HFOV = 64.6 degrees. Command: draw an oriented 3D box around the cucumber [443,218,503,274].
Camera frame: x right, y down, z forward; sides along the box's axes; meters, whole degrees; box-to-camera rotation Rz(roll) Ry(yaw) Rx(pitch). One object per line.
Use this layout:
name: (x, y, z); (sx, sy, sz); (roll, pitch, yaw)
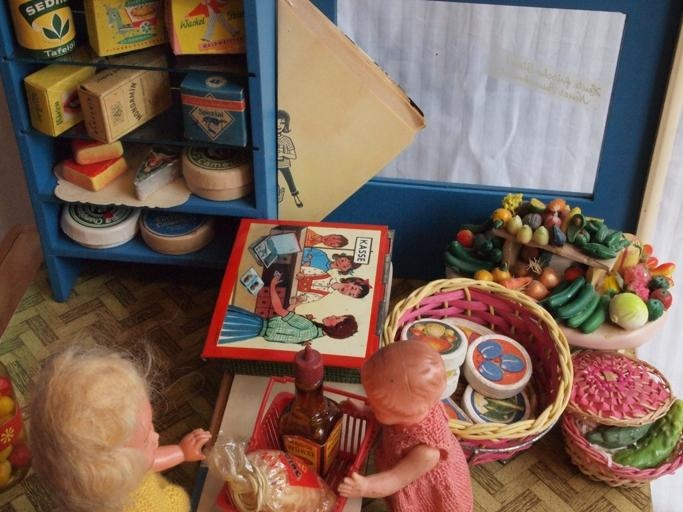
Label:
cucumber: (0.304, -0.016, 1.258); (0.134, 0.128, 0.047); (38, 7, 19)

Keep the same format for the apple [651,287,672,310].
apple: (0.672, 0.089, 1.135); (0.034, 0.036, 0.030); (11, 40, 10)

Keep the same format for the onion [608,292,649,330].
onion: (0.601, 0.118, 1.144); (0.086, 0.071, 0.105); (6, 3, 42)

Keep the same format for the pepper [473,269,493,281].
pepper: (0.324, 0.040, 1.215); (0.031, 0.026, 0.029); (2, 9, 11)

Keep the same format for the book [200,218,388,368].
book: (-0.088, 0.064, 1.082); (0.332, 0.072, 0.287); (5, 53, 8)

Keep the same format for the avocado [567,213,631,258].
avocado: (0.555, -0.048, 1.166); (0.132, 0.068, 0.120); (15, 40, 17)

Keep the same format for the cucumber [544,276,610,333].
cucumber: (0.498, 0.112, 1.135); (0.121, 0.037, 0.114); (-37, 61, -21)

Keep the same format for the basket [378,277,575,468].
basket: (0.222, 0.280, 1.145); (0.342, 0.346, 0.404); (14, 46, 13)

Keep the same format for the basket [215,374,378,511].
basket: (-0.067, 0.323, 0.930); (0.240, 0.214, 0.209); (-2, 38, -2)

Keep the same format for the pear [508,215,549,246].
pear: (0.410, -0.044, 1.188); (0.076, 0.035, 0.072); (-21, 44, -23)
